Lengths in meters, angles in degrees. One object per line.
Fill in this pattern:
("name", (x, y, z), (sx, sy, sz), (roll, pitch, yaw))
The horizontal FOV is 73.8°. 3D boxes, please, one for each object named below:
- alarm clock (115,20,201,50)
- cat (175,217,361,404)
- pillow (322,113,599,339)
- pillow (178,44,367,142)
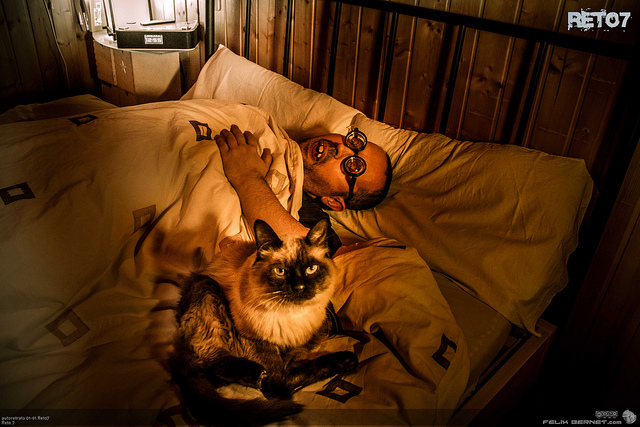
("alarm clock", (-1.036, -1.164, 2.753), (0.511, 0.179, 0.300), (-5, 27, -16))
("cat", (-0.179, 0.240, 1.336), (0.479, 0.447, 0.716), (1, 17, -12))
("pillow", (0.538, -0.063, 1.803), (1.039, 0.662, 0.280), (28, 12, 28))
("pillow", (-0.256, -0.618, 2.176), (0.865, 0.127, 0.551), (30, 66, -1))
